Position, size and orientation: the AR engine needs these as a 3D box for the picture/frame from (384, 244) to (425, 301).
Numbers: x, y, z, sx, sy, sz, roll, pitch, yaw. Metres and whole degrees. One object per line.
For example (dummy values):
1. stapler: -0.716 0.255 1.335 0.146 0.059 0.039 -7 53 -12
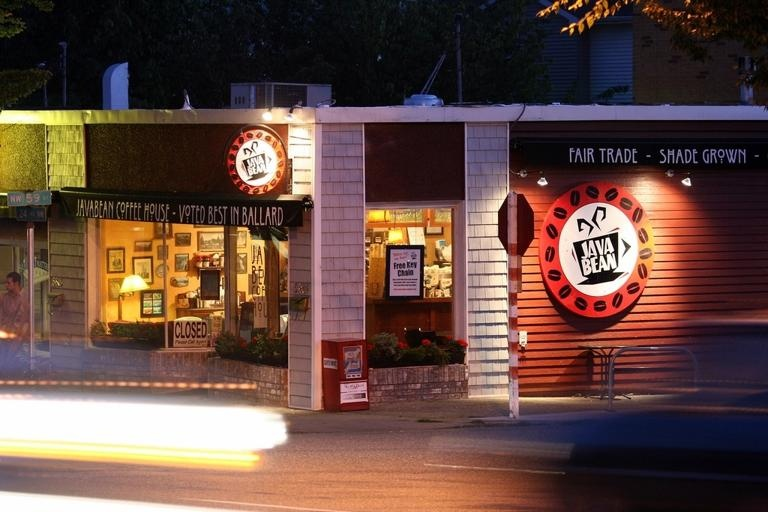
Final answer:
1. picture/frame: 0.368 0.343 25.646 1.203 1.380 0.164 1 1 -21

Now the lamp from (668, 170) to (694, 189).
1. lamp: 5.858 -1.472 25.591 0.304 0.236 0.472 1 4 -34

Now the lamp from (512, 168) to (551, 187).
1. lamp: 2.846 -1.492 25.229 0.842 0.361 0.278 -1 -3 19

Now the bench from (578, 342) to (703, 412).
1. bench: 4.248 2.229 24.069 2.040 1.230 2.544 7 -7 -26
